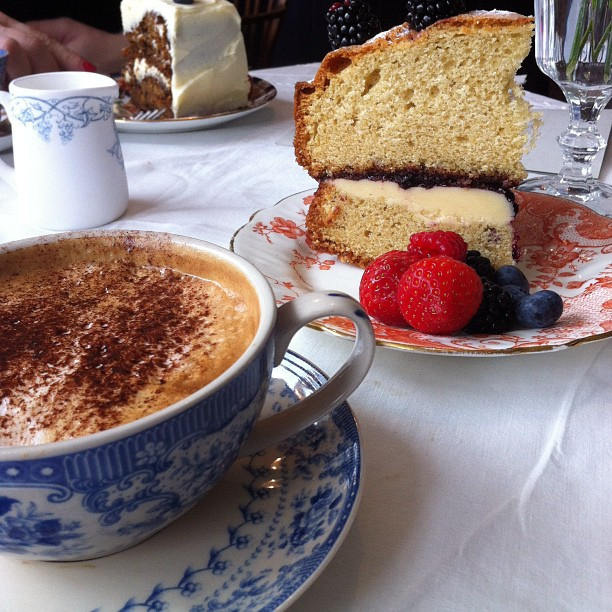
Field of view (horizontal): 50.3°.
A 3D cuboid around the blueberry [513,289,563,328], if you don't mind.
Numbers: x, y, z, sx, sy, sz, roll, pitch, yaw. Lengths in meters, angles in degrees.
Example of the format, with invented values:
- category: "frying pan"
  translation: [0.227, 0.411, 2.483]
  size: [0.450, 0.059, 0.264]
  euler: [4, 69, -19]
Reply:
- category: "blueberry"
  translation: [0.334, 0.005, 0.944]
  size: [0.050, 0.054, 0.063]
  euler: [-17, 33, -17]

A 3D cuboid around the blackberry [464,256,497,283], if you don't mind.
- category: "blackberry"
  translation: [0.293, -0.061, 1.085]
  size: [0.047, 0.052, 0.024]
  euler: [11, 74, 12]

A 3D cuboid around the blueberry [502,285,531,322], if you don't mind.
- category: "blueberry"
  translation: [0.321, -0.008, 1.006]
  size: [0.055, 0.031, 0.056]
  euler: [-5, 39, 14]

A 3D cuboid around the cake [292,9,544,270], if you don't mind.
- category: "cake"
  translation: [0.205, -0.304, 1.235]
  size: [0.449, 0.445, 0.334]
  euler: [-5, 33, 1]

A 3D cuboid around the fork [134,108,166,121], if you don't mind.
- category: "fork"
  translation: [-0.445, -0.540, 1.850]
  size: [0.075, 0.009, 0.135]
  euler: [-2, 27, 3]
